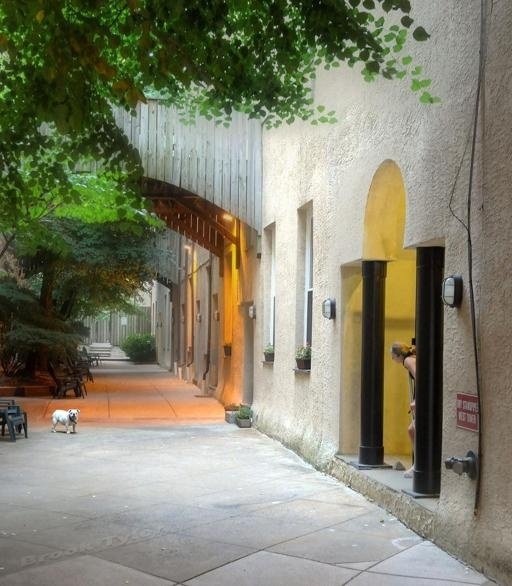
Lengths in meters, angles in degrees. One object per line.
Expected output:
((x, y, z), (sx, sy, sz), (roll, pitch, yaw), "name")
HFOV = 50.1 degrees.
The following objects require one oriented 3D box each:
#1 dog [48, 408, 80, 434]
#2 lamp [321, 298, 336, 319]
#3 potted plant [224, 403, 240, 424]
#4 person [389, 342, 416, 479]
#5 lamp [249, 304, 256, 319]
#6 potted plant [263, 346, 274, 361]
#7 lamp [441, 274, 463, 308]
((-3.835, 2.530, 10.975), (0.482, 0.445, 1.259), (3, -8, -21), "dog")
((0.911, 0.200, 7.085), (0.164, 0.430, 0.280), (1, -1, -3), "lamp")
((-0.574, 2.791, 12.724), (0.243, 0.450, 0.401), (3, -2, -5), "potted plant")
((1.546, 1.179, 5.771), (0.238, 1.397, 2.145), (-1, -7, 15), "person")
((-0.093, 0.423, 12.822), (0.202, 0.476, 0.456), (0, -1, -7), "lamp")
((0.252, 1.248, 11.294), (0.198, 0.362, 0.305), (0, 1, -13), "potted plant")
((1.430, -0.019, 3.995), (0.081, 0.332, 0.202), (4, -4, -7), "lamp")
